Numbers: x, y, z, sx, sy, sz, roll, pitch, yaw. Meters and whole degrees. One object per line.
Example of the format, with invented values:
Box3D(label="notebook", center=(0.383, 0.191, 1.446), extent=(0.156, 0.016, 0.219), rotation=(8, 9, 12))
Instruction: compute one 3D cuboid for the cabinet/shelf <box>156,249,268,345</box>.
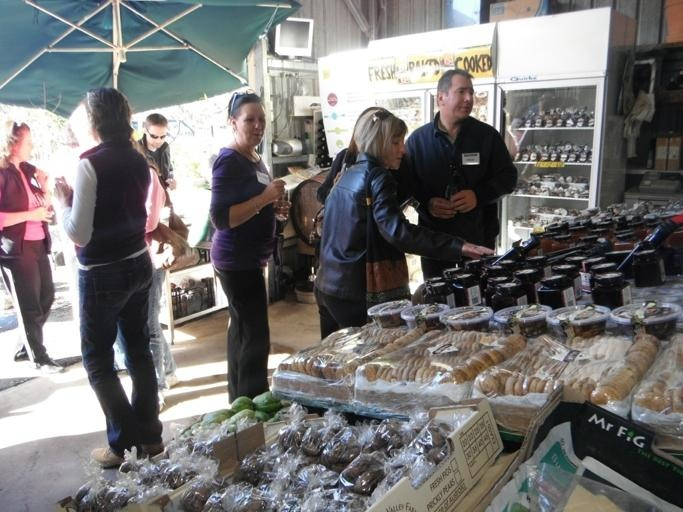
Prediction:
Box3D(label="cabinet/shelf", center=(-1.567, 0.430, 5.159), extent=(0.824, 0.989, 1.385), rotation=(16, 18, 39))

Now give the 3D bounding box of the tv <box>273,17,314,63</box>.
Box3D(label="tv", center=(-0.603, -2.762, 6.103), extent=(0.507, 0.458, 0.314), rotation=(-6, 16, -21))

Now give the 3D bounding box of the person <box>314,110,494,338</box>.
Box3D(label="person", center=(0.815, -0.210, 3.470), extent=(0.844, 2.000, 0.670), rotation=(0, 14, 16))

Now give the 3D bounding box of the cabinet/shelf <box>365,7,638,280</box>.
Box3D(label="cabinet/shelf", center=(2.102, -1.228, 5.233), extent=(2.873, 2.408, 1.547), rotation=(7, 15, 31))

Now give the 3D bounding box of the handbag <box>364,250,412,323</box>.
Box3D(label="handbag", center=(0.253, 0.161, 2.623), extent=(0.177, 0.319, 0.208), rotation=(7, 16, 21))

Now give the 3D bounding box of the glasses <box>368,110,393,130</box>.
Box3D(label="glasses", center=(0.219, -0.734, 2.586), extent=(0.086, 0.067, 0.113), rotation=(-4, 7, -12))

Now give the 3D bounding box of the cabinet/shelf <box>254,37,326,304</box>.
Box3D(label="cabinet/shelf", center=(-0.730, -0.974, 6.349), extent=(0.603, 3.410, 0.665), rotation=(-5, 15, -32))

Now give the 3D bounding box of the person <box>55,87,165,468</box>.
Box3D(label="person", center=(-1.308, 0.213, 2.867), extent=(0.499, 2.320, 0.330), rotation=(-13, 19, -40))

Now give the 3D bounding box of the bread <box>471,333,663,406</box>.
Box3D(label="bread", center=(0.686, 0.270, 1.519), extent=(0.493, 0.163, 0.524), rotation=(8, 12, 34))

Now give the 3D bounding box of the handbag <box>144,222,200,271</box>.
Box3D(label="handbag", center=(-1.289, -0.094, 3.647), extent=(0.292, 0.140, 0.395), rotation=(-20, -29, -5))

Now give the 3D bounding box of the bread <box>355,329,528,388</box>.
Box3D(label="bread", center=(0.343, 0.289, 1.621), extent=(0.502, 0.143, 0.371), rotation=(5, 13, 28))

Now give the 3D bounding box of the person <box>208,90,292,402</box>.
Box3D(label="person", center=(-0.613, -0.028, 3.244), extent=(0.534, 2.001, 0.545), rotation=(-4, 17, -31))

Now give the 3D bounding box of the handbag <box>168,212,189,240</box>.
Box3D(label="handbag", center=(-1.335, -0.257, 3.932), extent=(0.046, 0.207, 0.127), rotation=(7, 35, 38))
